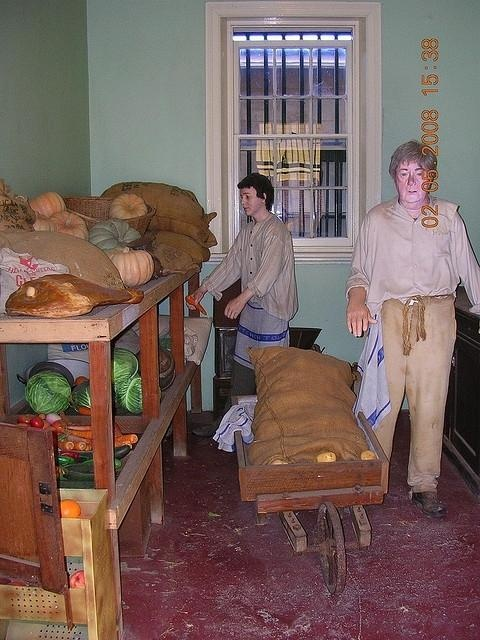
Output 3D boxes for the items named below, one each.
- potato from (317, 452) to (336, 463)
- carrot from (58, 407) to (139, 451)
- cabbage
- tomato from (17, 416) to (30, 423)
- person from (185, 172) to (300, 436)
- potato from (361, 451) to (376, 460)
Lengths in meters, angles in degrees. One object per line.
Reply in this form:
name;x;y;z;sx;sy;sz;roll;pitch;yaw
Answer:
potato;0.322;0.515;2.059;0.072;0.026;0.058;0;6;8
carrot;-0.578;0.413;2.098;0.244;0.069;0.174;-2;-17;6
cabbage;-0.682;0.294;2.394;0.369;0.149;0.353;-1;3;-14
tomato;-0.842;0.392;2.144;0.035;0.028;0.028;-3;-25;10
person;0.039;-0.116;3.752;0.598;1.638;0.630;-5;15;-30
potato;0.487;0.522;2.103;0.038;0.019;0.036;-6;23;4
